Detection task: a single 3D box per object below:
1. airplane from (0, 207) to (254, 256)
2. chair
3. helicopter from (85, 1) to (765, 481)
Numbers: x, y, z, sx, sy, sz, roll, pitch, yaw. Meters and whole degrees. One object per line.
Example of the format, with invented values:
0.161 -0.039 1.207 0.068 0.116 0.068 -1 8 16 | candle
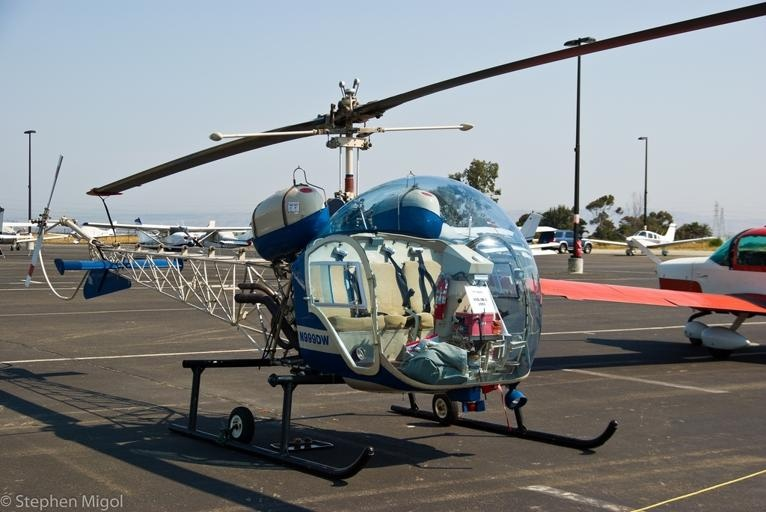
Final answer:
-10.554 -0.736 31.550 5.573 1.222 6.191 0 1 24 | airplane
-0.174 0.543 11.077 1.730 0.516 1.159 2 -1 36 | chair
0.663 0.474 11.656 9.197 2.863 8.922 0 -1 -42 | helicopter
